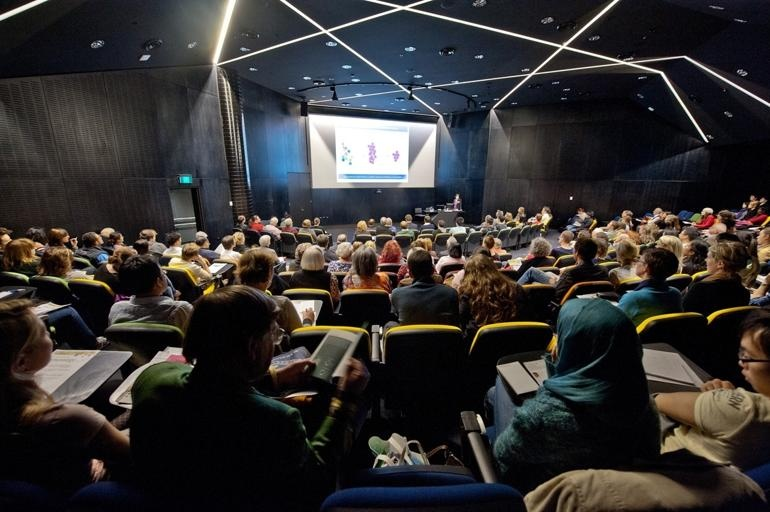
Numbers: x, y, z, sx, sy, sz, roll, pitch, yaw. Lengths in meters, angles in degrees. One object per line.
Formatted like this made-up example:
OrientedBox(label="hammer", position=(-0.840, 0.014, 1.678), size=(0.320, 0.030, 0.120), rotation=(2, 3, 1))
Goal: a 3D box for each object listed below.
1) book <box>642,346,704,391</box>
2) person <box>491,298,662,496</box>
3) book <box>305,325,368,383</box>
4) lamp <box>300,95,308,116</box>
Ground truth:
OrientedBox(label="book", position=(2.555, 0.997, 4.010), size=(0.438, 0.093, 0.424), rotation=(-5, 21, -11))
OrientedBox(label="person", position=(1.517, 1.181, 3.597), size=(1.144, 1.677, 1.087), rotation=(-8, 30, -1))
OrientedBox(label="book", position=(-0.428, 0.825, 3.814), size=(0.315, 0.416, 0.409), rotation=(16, 54, 18))
OrientedBox(label="lamp", position=(-2.446, -4.441, 13.492), size=(0.265, 0.432, 0.950), rotation=(-3, 8, -9))
